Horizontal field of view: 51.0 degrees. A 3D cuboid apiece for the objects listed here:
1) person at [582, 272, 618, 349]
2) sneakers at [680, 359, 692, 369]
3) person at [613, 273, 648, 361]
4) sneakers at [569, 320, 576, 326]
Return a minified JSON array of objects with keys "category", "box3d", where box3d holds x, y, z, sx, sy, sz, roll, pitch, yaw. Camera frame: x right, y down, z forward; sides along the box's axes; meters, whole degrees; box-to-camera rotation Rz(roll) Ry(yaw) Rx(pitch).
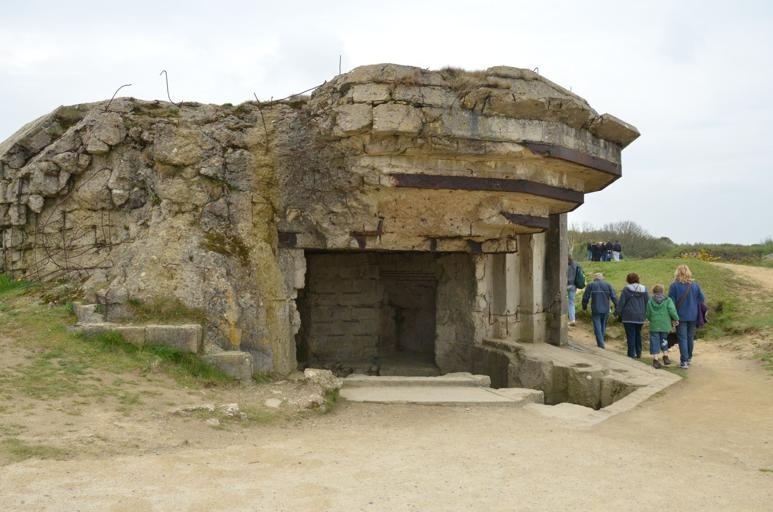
[{"category":"person","box3d":[4.361,1.148,16.633,0.622,1.643,0.750,4,14,6]},{"category":"sneakers","box3d":[5.622,2.047,15.280,0.097,0.125,0.274,0,5,9]},{"category":"person","box3d":[4.772,1.213,15.651,0.610,1.661,0.604,13,18,37]},{"category":"sneakers","box3d":[4.362,1.600,19.005,0.135,0.080,0.224,1,-10,-3]}]
